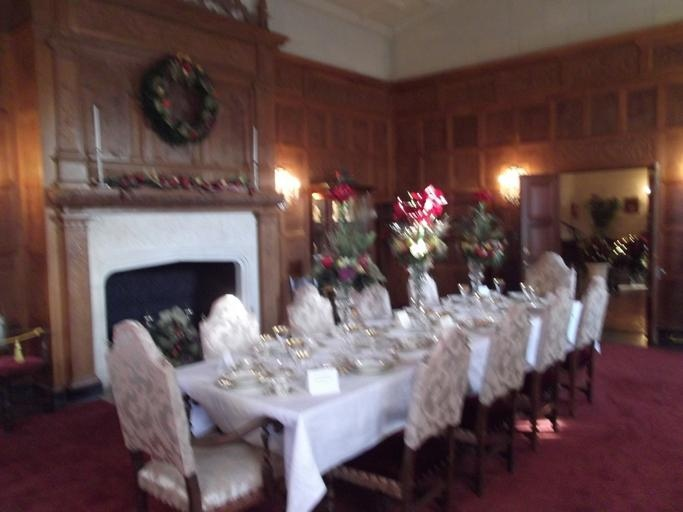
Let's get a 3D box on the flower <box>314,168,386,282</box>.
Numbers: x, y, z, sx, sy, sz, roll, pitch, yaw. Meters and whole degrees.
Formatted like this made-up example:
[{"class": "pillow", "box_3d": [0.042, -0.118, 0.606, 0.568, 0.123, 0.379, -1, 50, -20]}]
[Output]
[{"class": "flower", "box_3d": [0.106, -0.126, 5.117, 0.569, 1.193, 0.514, -16, -27, 33]}]
